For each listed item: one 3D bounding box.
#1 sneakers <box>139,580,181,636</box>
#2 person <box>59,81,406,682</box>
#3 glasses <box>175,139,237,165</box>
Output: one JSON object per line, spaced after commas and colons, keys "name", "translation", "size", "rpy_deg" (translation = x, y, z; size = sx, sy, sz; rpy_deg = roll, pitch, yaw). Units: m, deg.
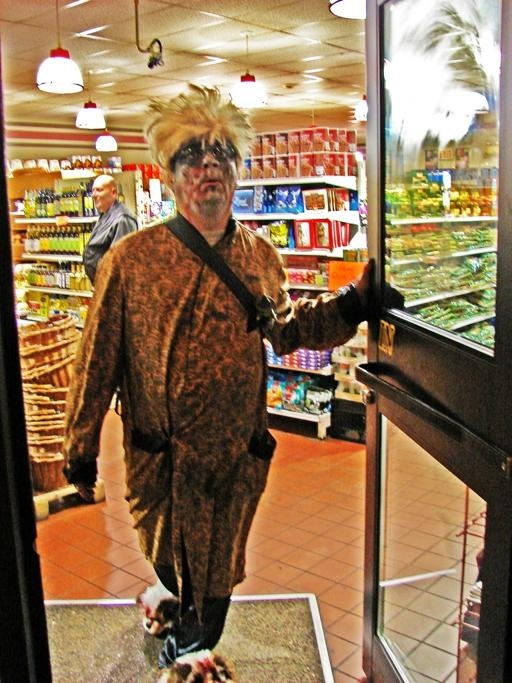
{"name": "sneakers", "translation": [-0.373, 1.037, 2.140], "size": [0.192, 0.233, 0.095], "rpy_deg": [3, 13, 9]}
{"name": "person", "translation": [-0.129, 0.191, 1.769], "size": [0.951, 1.935, 0.344], "rpy_deg": [-2, 8, 9]}
{"name": "glasses", "translation": [-0.159, -0.569, 1.620], "size": [0.095, 0.042, 0.118], "rpy_deg": [-2, 3, -6]}
